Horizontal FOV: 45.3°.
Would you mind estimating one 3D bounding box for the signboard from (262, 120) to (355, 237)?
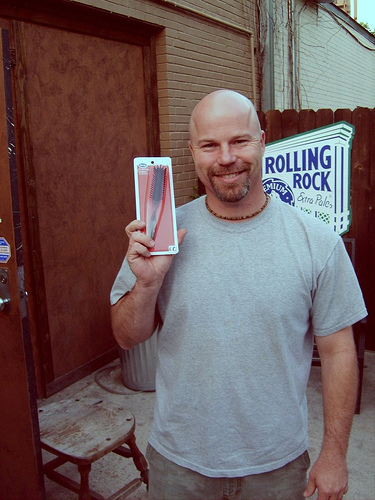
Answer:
[{"bbox_3d":[1.058,-0.607,4.105,0.161,0.925,1.069,-4,7,-28],"label":"signboard"}]
